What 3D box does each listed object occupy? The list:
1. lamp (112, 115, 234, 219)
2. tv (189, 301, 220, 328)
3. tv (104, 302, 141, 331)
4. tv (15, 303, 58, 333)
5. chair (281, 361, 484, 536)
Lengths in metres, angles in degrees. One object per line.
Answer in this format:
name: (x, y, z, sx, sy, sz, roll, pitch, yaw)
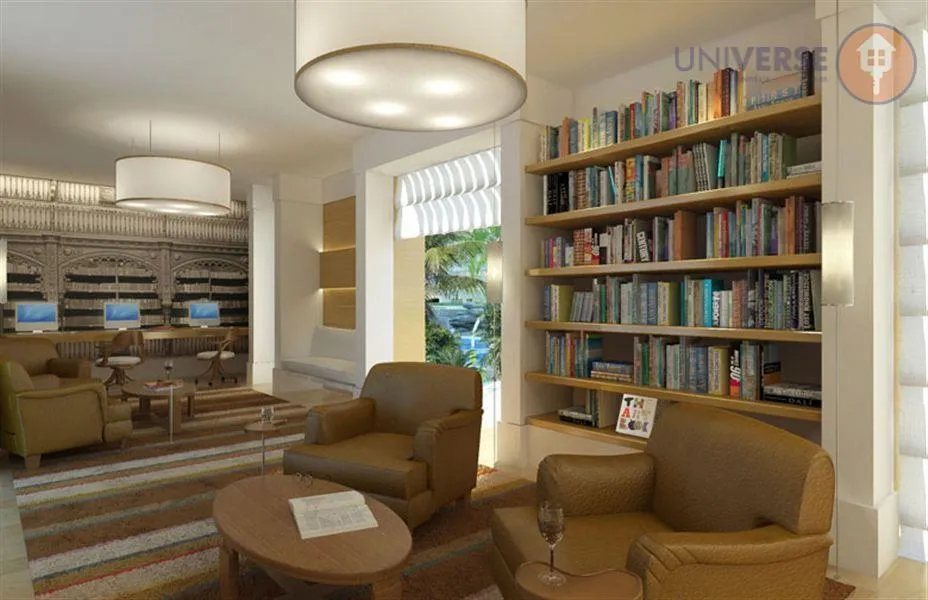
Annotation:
lamp: (-3.859, -1.527, 8.221, 1.496, 0.681, 0.839, 3, 5, 33)
tv: (-4.893, 0.271, 12.291, 0.507, 0.480, 0.188, 2, -9, -35)
tv: (-6.055, 0.289, 11.549, 0.493, 0.440, 0.154, 2, -12, -37)
tv: (-7.088, 0.296, 10.811, 0.515, 0.488, 0.166, 0, -7, -35)
chair: (-0.703, 1.284, 5.975, 1.433, 1.124, 1.405, 2, 7, 26)
